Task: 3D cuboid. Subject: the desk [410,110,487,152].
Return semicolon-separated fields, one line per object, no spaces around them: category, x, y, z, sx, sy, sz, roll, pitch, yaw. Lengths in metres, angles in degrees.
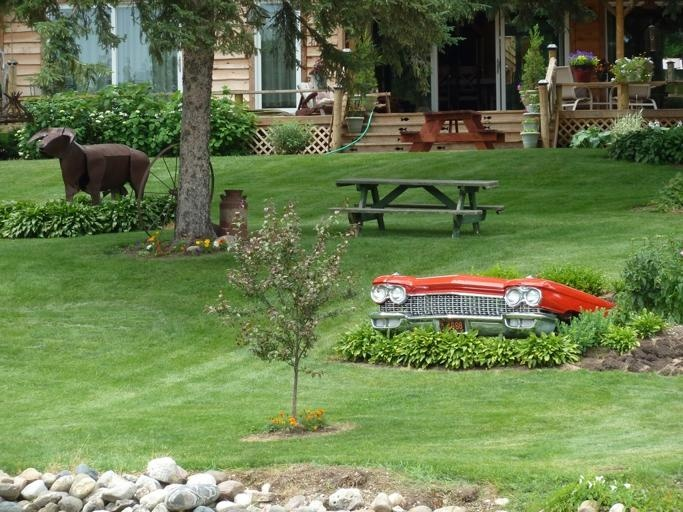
desk;2.628;-2.944;33.054;2.004;1.004;0.878;0;3;21

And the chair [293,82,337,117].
chair;-0.761;-4.066;36.272;1.327;0.853;1.056;10;17;40

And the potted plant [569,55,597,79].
potted plant;6.096;-4.858;35.257;0.685;0.695;0.698;0;0;-7

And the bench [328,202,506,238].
bench;1.411;-0.686;25.719;2.784;0.614;2.322;-2;4;7
